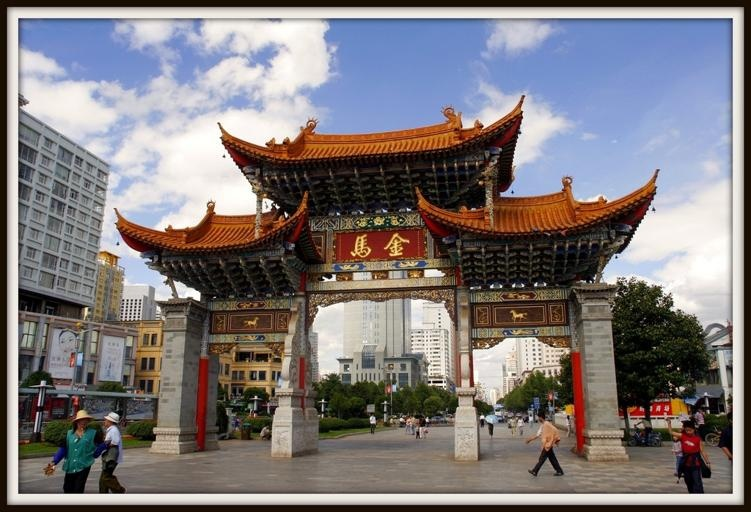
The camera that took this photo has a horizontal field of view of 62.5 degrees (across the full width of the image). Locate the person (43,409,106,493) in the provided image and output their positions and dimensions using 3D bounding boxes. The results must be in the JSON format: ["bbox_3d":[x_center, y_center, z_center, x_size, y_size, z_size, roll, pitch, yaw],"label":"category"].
[{"bbox_3d":[-6.196,4.094,12.957,0.884,1.644,0.460,5,-18,-21],"label":"person"}]

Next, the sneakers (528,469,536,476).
[{"bbox_3d":[4.498,6.190,17.642,0.113,0.268,0.095,-53,-31,18],"label":"sneakers"}]

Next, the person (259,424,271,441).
[{"bbox_3d":[-5.757,9.350,32.597,0.579,0.745,0.366,-5,-9,8],"label":"person"}]
